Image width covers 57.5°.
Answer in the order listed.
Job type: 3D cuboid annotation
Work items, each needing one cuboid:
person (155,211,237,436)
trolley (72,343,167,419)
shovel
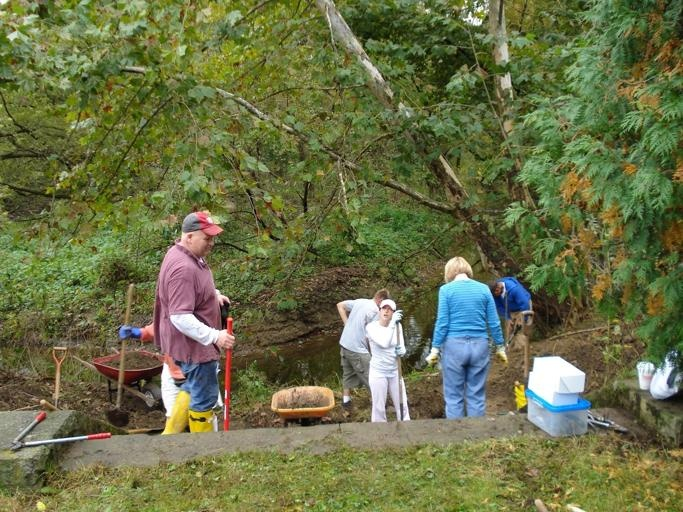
[{"bbox_3d":[-1.517,0.771,6.392,0.808,2.406,0.815,-4,10,-9],"label":"person"},{"bbox_3d":[-3.143,1.726,9.060,1.368,0.486,0.720,1,1,35],"label":"trolley"},{"bbox_3d":[-2.781,1.272,8.283,0.395,1.995,0.580,-2,13,-26],"label":"shovel"}]
